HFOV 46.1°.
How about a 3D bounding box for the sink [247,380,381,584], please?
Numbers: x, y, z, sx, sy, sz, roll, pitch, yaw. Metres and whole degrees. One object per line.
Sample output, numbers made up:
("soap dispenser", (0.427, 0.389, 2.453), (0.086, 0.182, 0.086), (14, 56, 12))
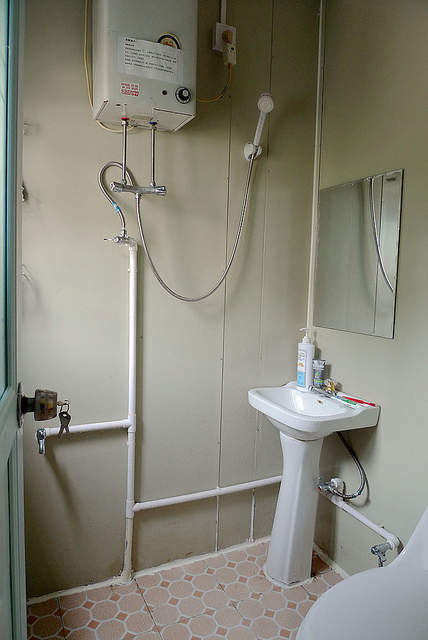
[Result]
("sink", (0.349, 0.633, 2.000), (0.303, 0.827, 0.437), (-6, 18, -22))

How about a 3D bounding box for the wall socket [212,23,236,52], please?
("wall socket", (0.035, -1.062, 1.903), (0.104, 0.127, 0.036), (-2, 5, -31))

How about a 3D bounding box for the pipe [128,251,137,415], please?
("pipe", (-0.307, 0.049, 1.884), (0.029, 0.606, 0.048), (0, 7, -9))

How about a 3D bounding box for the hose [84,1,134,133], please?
("hose", (-0.365, -0.868, 1.762), (0.183, 0.406, 0.031), (-4, 8, -39))

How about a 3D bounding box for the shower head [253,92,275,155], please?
("shower head", (0.198, -0.791, 1.988), (0.079, 0.271, 0.279), (2, 8, 6))

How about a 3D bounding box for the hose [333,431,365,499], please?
("hose", (0.540, 0.581, 1.979), (0.041, 0.263, 0.123), (-9, 4, -23))

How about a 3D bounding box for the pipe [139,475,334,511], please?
("pipe", (-0.028, 0.709, 2.017), (0.408, 0.197, 0.024), (-1, 32, -29))
